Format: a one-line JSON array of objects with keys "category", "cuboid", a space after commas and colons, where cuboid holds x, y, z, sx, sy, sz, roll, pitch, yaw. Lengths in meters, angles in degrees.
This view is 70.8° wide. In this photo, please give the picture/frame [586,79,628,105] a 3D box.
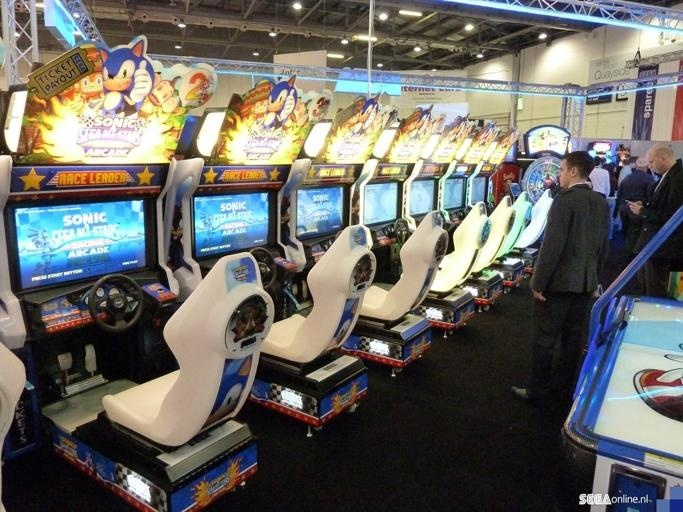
[{"category": "picture/frame", "cuboid": [7.191, -4.363, 12.927, 0.979, 0.399, 3.164, 9, 16, 28]}]

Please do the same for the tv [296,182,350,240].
[{"category": "tv", "cuboid": [-0.203, -0.490, 5.143, 0.141, 0.524, 0.825, 9, 16, 29]}]

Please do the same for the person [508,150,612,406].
[{"category": "person", "cuboid": [1.851, 0.165, 3.977, 0.548, 2.013, 0.819, 9, 16, 29]}]

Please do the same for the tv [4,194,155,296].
[{"category": "tv", "cuboid": [-1.809, -0.075, 3.251, 0.026, 0.407, 0.656, 8, 18, 42]}]

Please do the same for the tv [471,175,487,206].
[{"category": "tv", "cuboid": [2.362, -1.154, 8.293, 0.081, 0.784, 0.761, 4, 12, 32]}]
